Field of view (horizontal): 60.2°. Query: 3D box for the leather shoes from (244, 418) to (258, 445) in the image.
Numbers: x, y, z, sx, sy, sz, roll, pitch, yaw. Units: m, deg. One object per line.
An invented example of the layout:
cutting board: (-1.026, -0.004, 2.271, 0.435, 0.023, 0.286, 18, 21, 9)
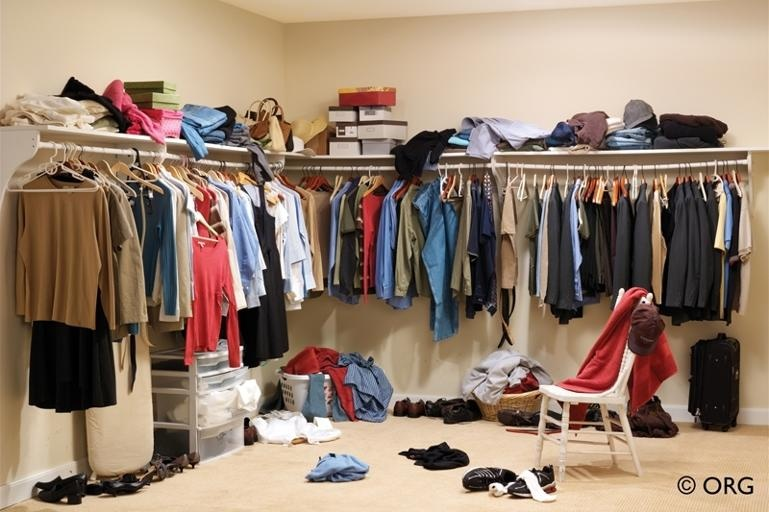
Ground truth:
leather shoes: (-1.151, 1.510, 5.647, 0.107, 0.164, 0.166, -1, -10, -2)

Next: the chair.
chair: (1.586, 0.919, 5.098, 0.795, 1.366, 1.117, 2, 6, 21)

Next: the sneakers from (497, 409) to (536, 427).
sneakers: (1.184, 1.460, 6.028, 0.344, 0.127, 0.137, 6, 7, 18)

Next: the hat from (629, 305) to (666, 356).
hat: (1.810, 0.515, 4.711, 0.226, 0.354, 0.178, 16, 4, -10)

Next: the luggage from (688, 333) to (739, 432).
luggage: (2.968, 1.117, 5.947, 0.456, 0.826, 0.391, 1, 6, 12)

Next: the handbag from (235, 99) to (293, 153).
handbag: (-1.145, -1.183, 6.090, 0.566, 0.530, 0.295, 11, -6, 8)

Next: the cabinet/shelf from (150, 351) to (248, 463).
cabinet/shelf: (-1.521, 1.217, 5.414, 0.698, 0.800, 0.748, -4, -5, 44)

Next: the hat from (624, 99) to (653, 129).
hat: (2.292, -1.285, 6.085, 0.206, 0.189, 0.284, -18, 2, 8)

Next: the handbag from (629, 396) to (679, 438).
handbag: (2.309, 1.417, 5.764, 0.465, 0.201, 0.354, 1, -5, -21)

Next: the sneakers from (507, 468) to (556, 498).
sneakers: (1.037, 1.588, 4.672, 0.429, 0.166, 0.158, 0, -3, -35)

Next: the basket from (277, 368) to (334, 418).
basket: (-0.756, 1.273, 6.299, 0.475, 0.322, 0.405, 2, -6, -9)
